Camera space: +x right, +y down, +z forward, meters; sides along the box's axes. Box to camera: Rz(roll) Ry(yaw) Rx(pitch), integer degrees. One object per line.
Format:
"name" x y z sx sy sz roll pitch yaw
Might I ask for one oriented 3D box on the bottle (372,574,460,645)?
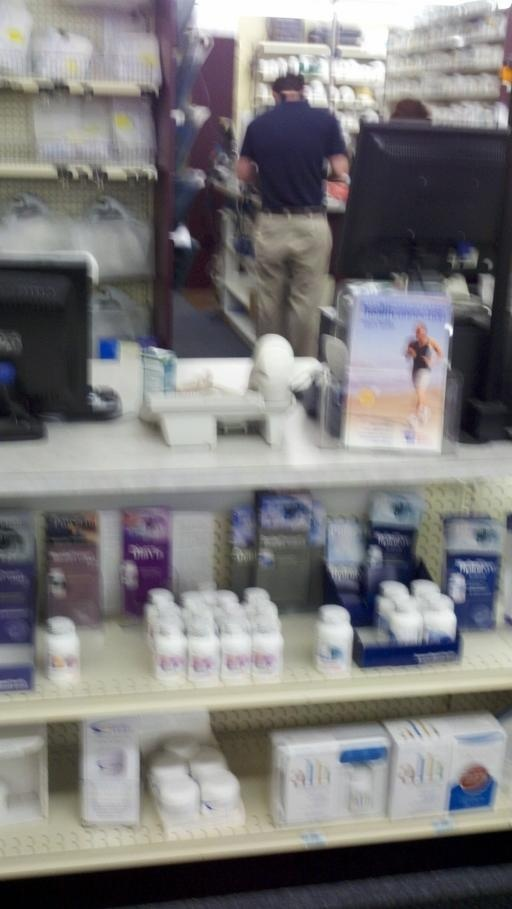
"bottle" 0.316 0.296 1.454 0.113 0.084 0.125 0 19 -8

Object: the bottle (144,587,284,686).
"bottle" -0.077 0.334 1.405 0.175 0.089 0.179 1 21 -1

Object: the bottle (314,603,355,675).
"bottle" 0.148 0.355 1.390 0.082 0.146 0.083 0 22 0

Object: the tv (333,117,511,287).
"tv" 0.288 -0.433 1.281 0.266 0.259 0.100 -1 19 -7
